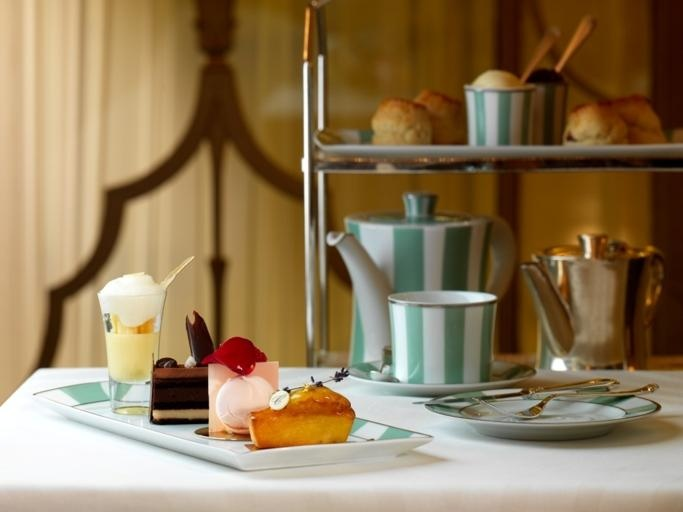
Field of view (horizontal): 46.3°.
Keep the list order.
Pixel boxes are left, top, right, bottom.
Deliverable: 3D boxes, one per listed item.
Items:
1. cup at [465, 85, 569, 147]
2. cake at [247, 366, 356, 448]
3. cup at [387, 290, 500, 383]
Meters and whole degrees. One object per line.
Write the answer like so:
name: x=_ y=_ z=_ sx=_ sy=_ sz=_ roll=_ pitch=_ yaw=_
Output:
cup: x=0.228 y=-0.177 z=1.047 sx=0.118 sy=0.081 sz=0.082 roll=-2 pitch=8 yaw=-5
cake: x=-0.028 y=0.118 z=0.611 sx=0.073 sy=0.056 sz=0.045 roll=0 pitch=-2 yaw=-8
cup: x=0.106 y=0.077 z=0.816 sx=0.084 sy=0.072 sz=0.094 roll=-1 pitch=-2 yaw=19
